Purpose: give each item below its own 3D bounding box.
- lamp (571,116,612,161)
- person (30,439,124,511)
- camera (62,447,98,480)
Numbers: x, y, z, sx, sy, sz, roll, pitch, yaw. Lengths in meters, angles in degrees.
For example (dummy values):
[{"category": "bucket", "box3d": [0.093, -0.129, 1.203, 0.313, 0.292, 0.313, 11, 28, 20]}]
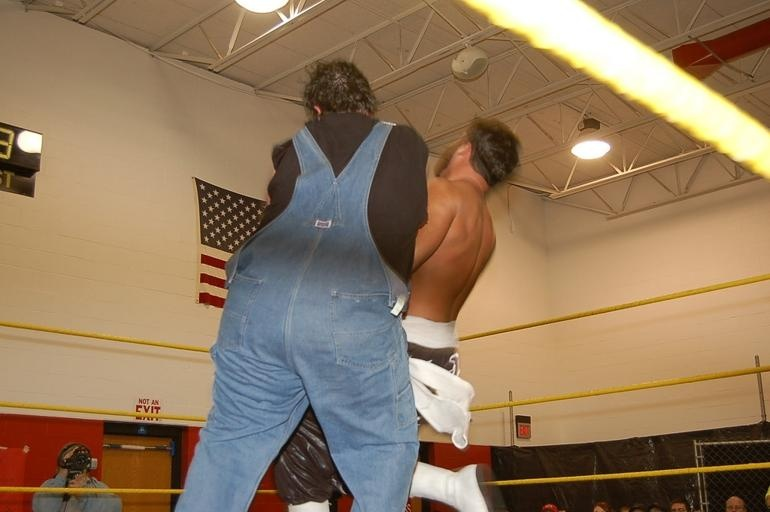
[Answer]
[{"category": "lamp", "box3d": [3.145, -1.845, 9.328, 0.438, 0.460, 0.463, 31, -44, -29]}, {"category": "person", "box3d": [-2.851, 2.062, 5.719, 0.740, 0.598, 0.510, 14, -24, -28]}, {"category": "camera", "box3d": [-2.941, 1.949, 5.875, 0.322, 0.253, 0.329, -2, -13, 23]}]
